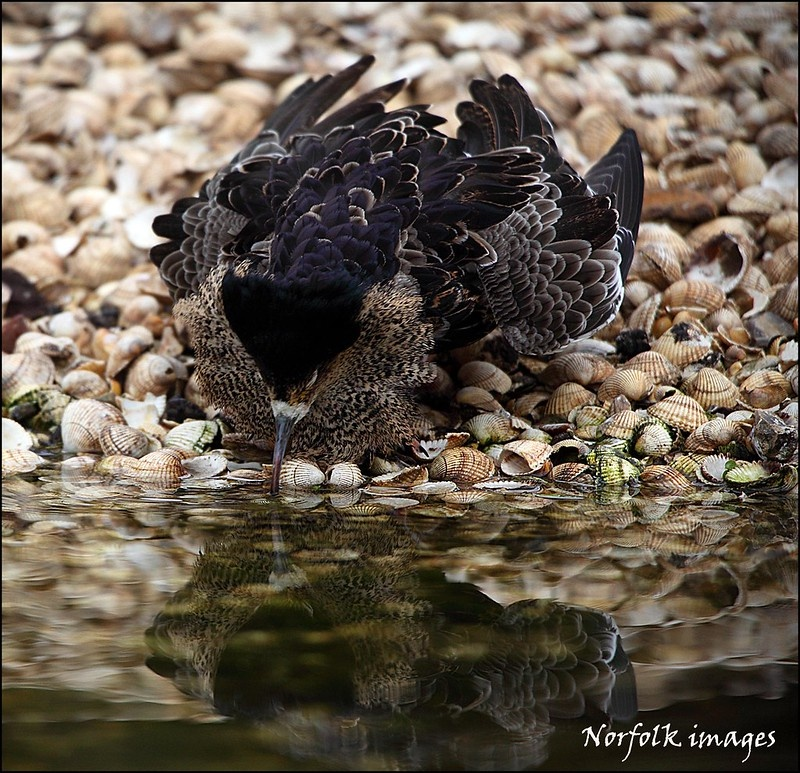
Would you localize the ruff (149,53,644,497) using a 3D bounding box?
[{"bbox_3d":[0.064,-0.377,3.547,1.567,1.325,0.700,7,-18,20],"label":"ruff"}]
